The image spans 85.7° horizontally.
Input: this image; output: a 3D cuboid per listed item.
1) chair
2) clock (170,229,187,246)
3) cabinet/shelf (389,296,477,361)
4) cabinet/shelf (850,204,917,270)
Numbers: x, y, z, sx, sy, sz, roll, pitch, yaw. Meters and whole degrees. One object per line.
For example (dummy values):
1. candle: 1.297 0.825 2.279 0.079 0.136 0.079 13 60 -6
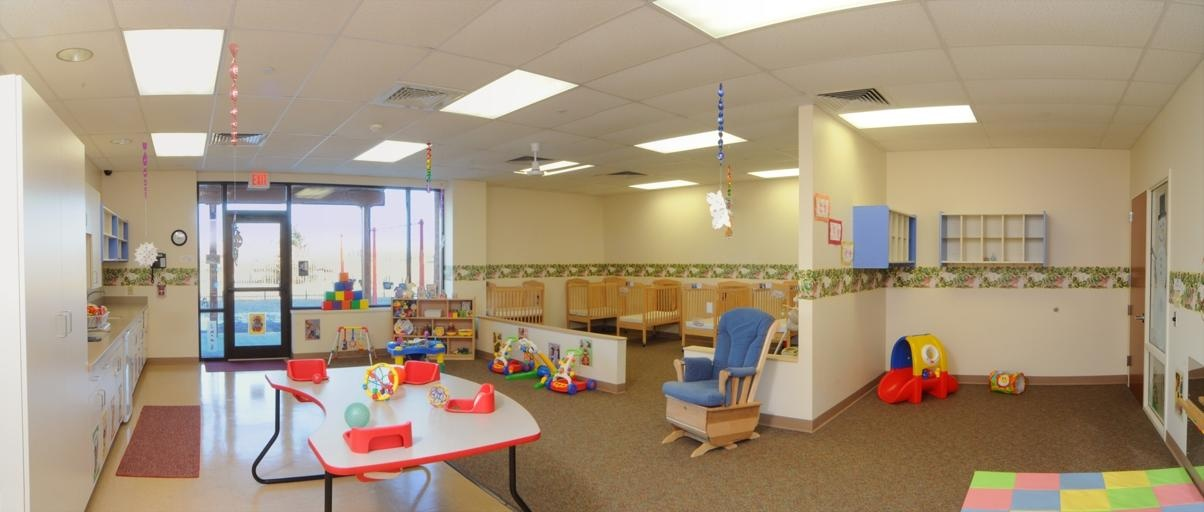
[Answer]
1. chair: 2.678 2.114 11.640 3.140 2.466 2.320 0 -2 -27
2. clock: -9.552 -0.428 14.550 0.498 0.411 0.037 5 7 -27
3. cabinet/shelf: -3.934 1.558 15.117 1.936 2.032 0.982 0 1 -27
4. cabinet/shelf: 5.615 -0.361 12.726 1.990 1.189 0.629 1 -2 -39
